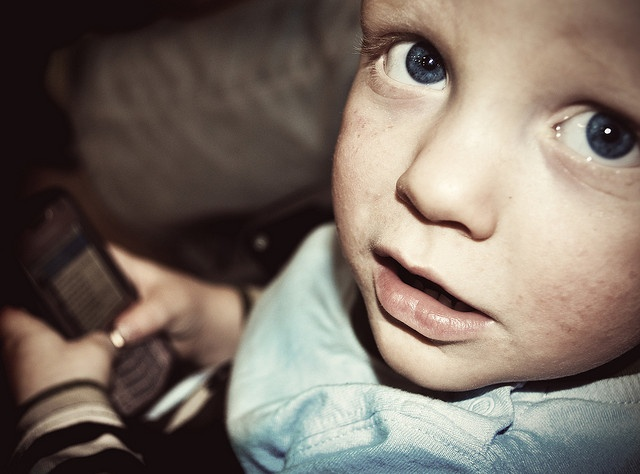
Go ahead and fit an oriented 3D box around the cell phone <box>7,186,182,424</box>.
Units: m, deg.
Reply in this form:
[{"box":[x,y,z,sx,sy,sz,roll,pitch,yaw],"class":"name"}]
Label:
[{"box":[-0.263,0.091,0.911,0.138,0.074,0.321,-29,102,12],"class":"cell phone"}]
